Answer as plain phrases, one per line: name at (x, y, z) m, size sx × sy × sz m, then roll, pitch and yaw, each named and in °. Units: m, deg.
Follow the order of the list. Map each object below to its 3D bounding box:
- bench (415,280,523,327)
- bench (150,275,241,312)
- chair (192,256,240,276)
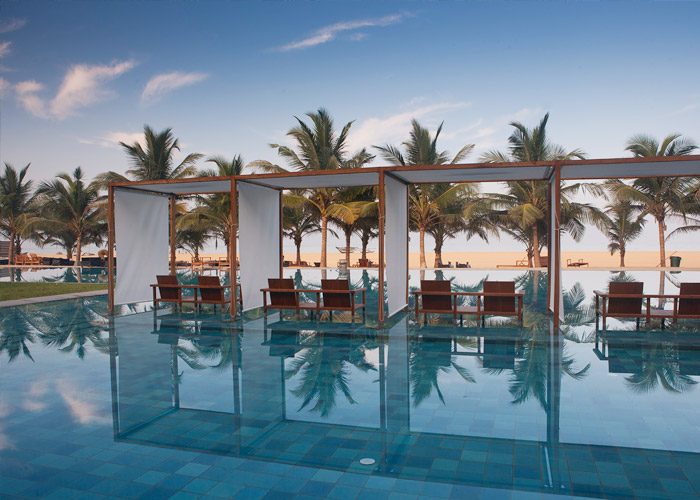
bench at (2.536, 1.204, 10.363) m, size 2.350 × 0.944 × 0.961 m, roll 4°, pitch 4°, yaw -2°
bench at (-4.051, 1.138, 12.885) m, size 2.388 × 0.871 × 0.927 m, roll -1°, pitch -2°, yaw 23°
chair at (-6.667, 0.817, 23.867) m, size 1.291 × 0.612 × 1.206 m, roll 0°, pitch 3°, yaw 4°
